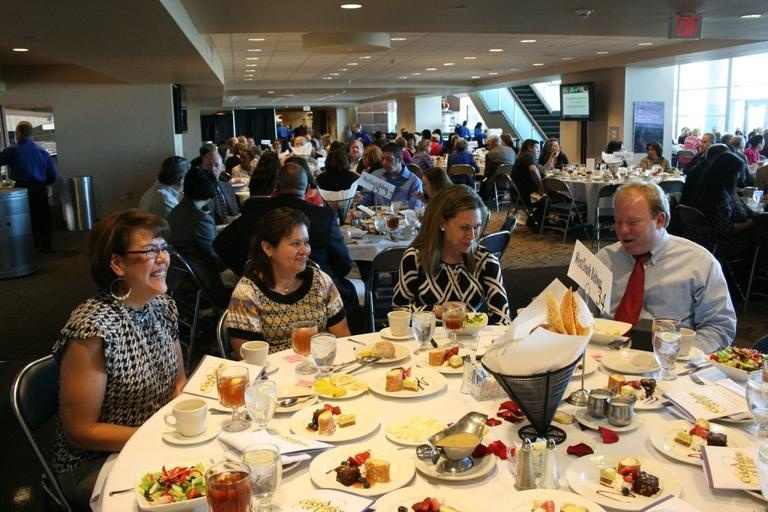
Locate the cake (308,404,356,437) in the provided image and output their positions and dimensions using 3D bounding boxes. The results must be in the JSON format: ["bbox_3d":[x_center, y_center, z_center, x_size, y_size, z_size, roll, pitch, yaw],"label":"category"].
[{"bbox_3d":[-0.188,0.572,1.840,0.101,0.038,0.110,3,12,15],"label":"cake"}]

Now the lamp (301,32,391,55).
[{"bbox_3d":[-0.586,-3.431,8.367,1.383,0.283,0.936,-4,10,-12],"label":"lamp"}]

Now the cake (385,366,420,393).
[{"bbox_3d":[0.072,0.484,2.063,0.098,0.034,0.097,1,3,13],"label":"cake"}]

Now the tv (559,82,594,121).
[{"bbox_3d":[5.357,-4.218,14.408,0.141,1.075,1.277,-4,7,-22],"label":"tv"}]

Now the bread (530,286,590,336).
[{"bbox_3d":[0.603,0.196,1.763,0.163,0.155,0.058,14,-22,-30],"label":"bread"}]

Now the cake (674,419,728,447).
[{"bbox_3d":[1.042,0.573,1.720,0.098,0.031,0.097,-3,5,9],"label":"cake"}]

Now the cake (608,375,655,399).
[{"bbox_3d":[0.944,0.473,1.983,0.114,0.042,0.112,0,-5,1],"label":"cake"}]

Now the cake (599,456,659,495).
[{"bbox_3d":[0.733,0.653,1.556,0.122,0.058,0.099,-7,11,3],"label":"cake"}]

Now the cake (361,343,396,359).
[{"bbox_3d":[-0.031,0.414,2.304,0.103,0.042,0.080,-2,5,27],"label":"cake"}]
